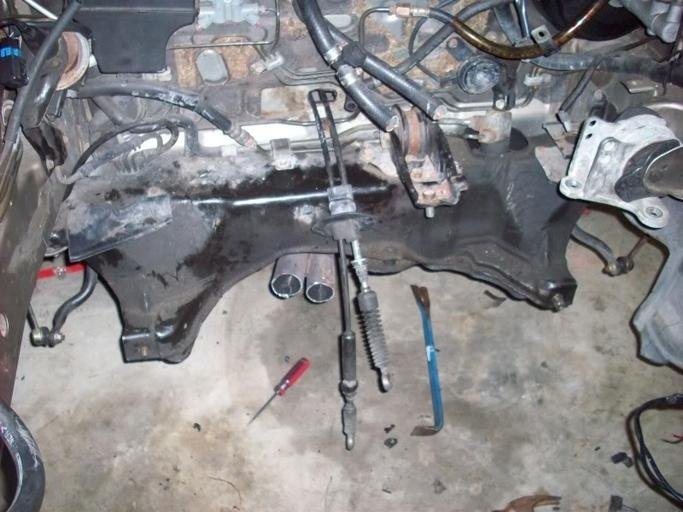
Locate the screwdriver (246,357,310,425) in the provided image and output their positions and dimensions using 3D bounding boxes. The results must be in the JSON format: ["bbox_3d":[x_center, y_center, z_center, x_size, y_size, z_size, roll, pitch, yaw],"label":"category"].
[{"bbox_3d":[-0.306,0.670,2.926,0.058,0.047,0.329,35,73,32],"label":"screwdriver"}]
